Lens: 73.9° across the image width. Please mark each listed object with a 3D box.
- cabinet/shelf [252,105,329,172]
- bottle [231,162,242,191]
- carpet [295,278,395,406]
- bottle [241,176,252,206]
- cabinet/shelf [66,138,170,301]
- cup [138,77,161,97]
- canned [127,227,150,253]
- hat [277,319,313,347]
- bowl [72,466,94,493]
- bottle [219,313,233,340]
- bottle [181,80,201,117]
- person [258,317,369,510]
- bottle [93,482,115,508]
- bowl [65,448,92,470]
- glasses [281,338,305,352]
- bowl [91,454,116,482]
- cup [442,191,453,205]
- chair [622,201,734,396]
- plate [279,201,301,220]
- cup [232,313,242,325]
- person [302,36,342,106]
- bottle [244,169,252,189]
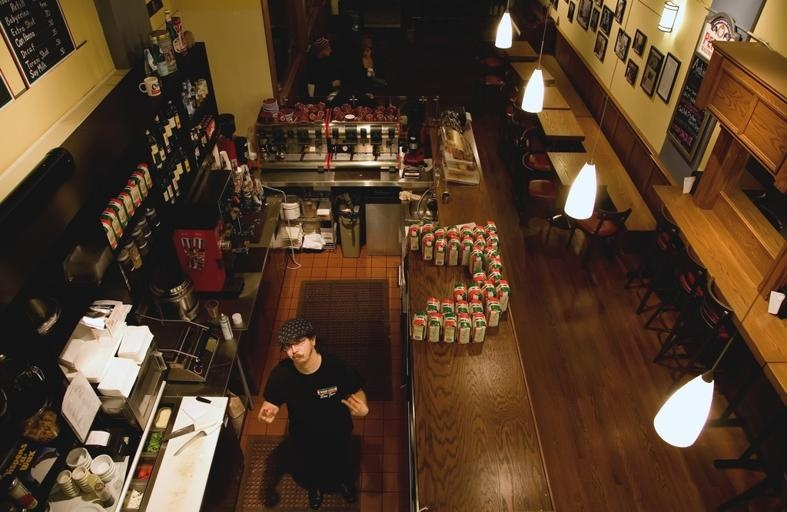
[{"bbox_3d":[-1.407,-1.644,7.690,1.179,0.715,0.871,0,46,-2],"label":"cabinet/shelf"},{"bbox_3d":[-2.043,-1.044,6.844,0.115,0.395,0.151,-3,11,-8],"label":"bottle"},{"bbox_3d":[-0.547,1.144,7.388,1.023,0.355,1.538,1,57,-2],"label":"carpet"},{"bbox_3d":[-1.917,-0.851,6.856,0.105,0.132,0.325,1,83,-6],"label":"bottle"},{"bbox_3d":[-2.720,-0.370,5.100,0.330,0.717,1.747,5,44,-2],"label":"cabinet/shelf"},{"bbox_3d":[-2.578,-1.798,5.543,0.231,0.170,0.142,-28,61,-21],"label":"cup"},{"bbox_3d":[-2.672,-0.182,5.457,0.127,0.200,0.134,-26,68,-23],"label":"canned"},{"bbox_3d":[-0.897,0.703,4.781,0.236,0.267,0.254,-9,75,-10],"label":"hat"},{"bbox_3d":[-2.781,1.982,4.666,0.144,0.216,0.144,1,38,-1],"label":"bowl"},{"bbox_3d":[-1.844,0.773,5.746,0.074,0.282,0.076,2,55,-3],"label":"bottle"},{"bbox_3d":[-2.481,-1.921,6.339,0.075,0.325,0.324,1,16,11],"label":"bottle"},{"bbox_3d":[-0.774,1.637,5.223,1.009,2.223,0.666,5,39,6],"label":"person"},{"bbox_3d":[-2.601,2.123,4.703,0.124,0.264,0.116,0,38,0],"label":"bottle"},{"bbox_3d":[-2.851,1.824,4.728,0.202,0.128,0.176,2,39,2],"label":"bowl"},{"bbox_3d":[-0.896,0.791,4.779,0.146,0.062,0.161,-11,25,12],"label":"glasses"},{"bbox_3d":[-2.624,1.904,4.742,0.217,0.164,0.212,2,59,-4],"label":"bowl"},{"bbox_3d":[0.734,-0.781,7.067,0.130,0.146,0.158,16,83,15],"label":"cup"},{"bbox_3d":[3.575,0.561,6.498,0.759,1.677,1.782,-8,58,7],"label":"chair"},{"bbox_3d":[-1.495,-0.658,7.523,0.234,0.232,0.246,-3,86,-3],"label":"plate"},{"bbox_3d":[-1.739,0.704,5.838,0.097,0.092,0.124,2,49,-4],"label":"cup"},{"bbox_3d":[-1.217,-3.537,9.330,0.449,0.443,1.431,-10,67,-29],"label":"person"},{"bbox_3d":[-1.915,-1.048,6.899,0.088,0.107,0.274,-7,70,-9],"label":"bottle"}]
